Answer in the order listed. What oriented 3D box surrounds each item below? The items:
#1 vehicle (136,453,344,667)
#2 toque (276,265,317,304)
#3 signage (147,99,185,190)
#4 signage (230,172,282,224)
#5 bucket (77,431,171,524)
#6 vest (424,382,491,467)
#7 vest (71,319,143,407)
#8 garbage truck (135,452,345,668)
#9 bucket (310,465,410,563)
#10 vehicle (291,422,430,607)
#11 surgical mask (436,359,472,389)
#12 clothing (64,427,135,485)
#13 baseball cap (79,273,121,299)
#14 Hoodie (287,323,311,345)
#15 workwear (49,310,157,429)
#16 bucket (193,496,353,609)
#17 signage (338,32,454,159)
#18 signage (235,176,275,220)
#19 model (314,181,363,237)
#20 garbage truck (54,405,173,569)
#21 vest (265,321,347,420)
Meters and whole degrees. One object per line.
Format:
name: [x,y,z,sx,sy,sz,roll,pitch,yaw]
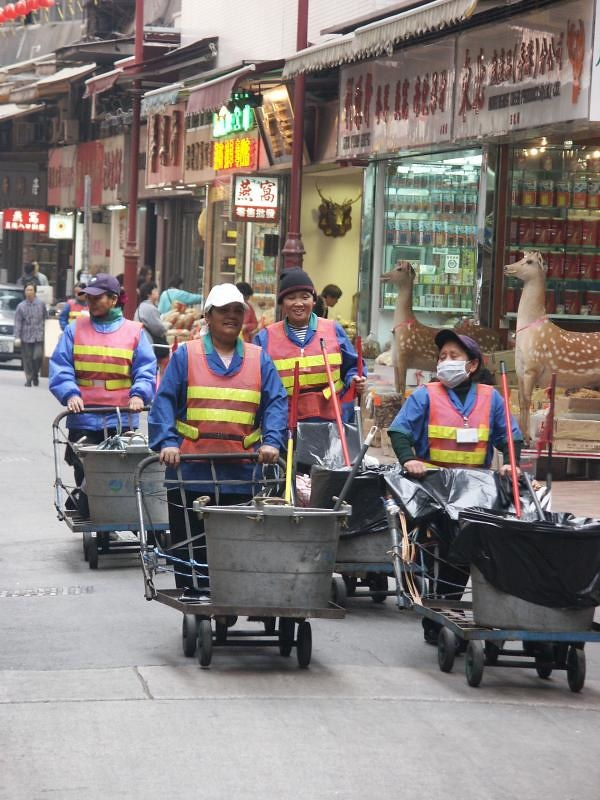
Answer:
vehicle: [-0.308,0.753,6.430,0.731,0.800,1.192,2,-9,-11]
toque: [-0.004,-0.678,8.290,0.178,0.180,0.210,-1,-13,-9]
signage: [-2.761,-5.153,28.026,0.188,1.527,1.555,10,14,20]
signage: [-0.650,-2.987,20.717,1.044,0.980,0.135,0,17,-12]
bucket: [-1.149,0.542,9.131,0.747,0.598,0.725,2,-2,0]
vest: [0.814,0.122,7.196,0.444,0.564,0.307,0,1,-7]
vest: [-1.338,-0.267,9.618,0.468,0.612,0.320,5,9,3]
garbage truck: [-0.277,0.742,6.592,0.856,0.930,1.401,4,-5,-16]
bucket: [0.289,0.478,7.655,0.436,0.505,0.414,-4,25,2]
vehicle: [0.301,0.570,7.772,0.718,0.911,0.921,0,-6,-5]
surgical mask: [0.785,-0.129,7.107,0.131,0.114,0.136,-2,-10,27]
clothing: [-1.467,0.398,9.736,0.337,0.408,0.433,-10,1,25]
baseball cap: [-1.338,-0.760,9.378,0.230,0.118,0.150,9,7,22]
Hoodie: [-0.003,-0.388,8.412,0.110,0.145,0.058,-4,-19,-3]
workwear: [-1.339,-0.192,9.472,0.711,0.781,0.457,1,11,-12]
bucket: [-0.155,0.695,6.226,0.666,0.433,0.719,1,-4,0]
signage: [1.154,-3.387,15.967,0.082,1.082,2.971,-1,12,27]
signage: [-0.679,-2.997,20.599,0.629,0.634,0.089,-4,18,-6]
model: [0.572,-2.815,21.424,0.637,0.719,0.220,2,-12,2]
garbage truck: [-1.161,0.632,9.279,0.781,0.883,1.323,0,-1,-16]
vest: [0.051,-0.206,8.511,0.470,0.638,0.344,-4,11,13]
